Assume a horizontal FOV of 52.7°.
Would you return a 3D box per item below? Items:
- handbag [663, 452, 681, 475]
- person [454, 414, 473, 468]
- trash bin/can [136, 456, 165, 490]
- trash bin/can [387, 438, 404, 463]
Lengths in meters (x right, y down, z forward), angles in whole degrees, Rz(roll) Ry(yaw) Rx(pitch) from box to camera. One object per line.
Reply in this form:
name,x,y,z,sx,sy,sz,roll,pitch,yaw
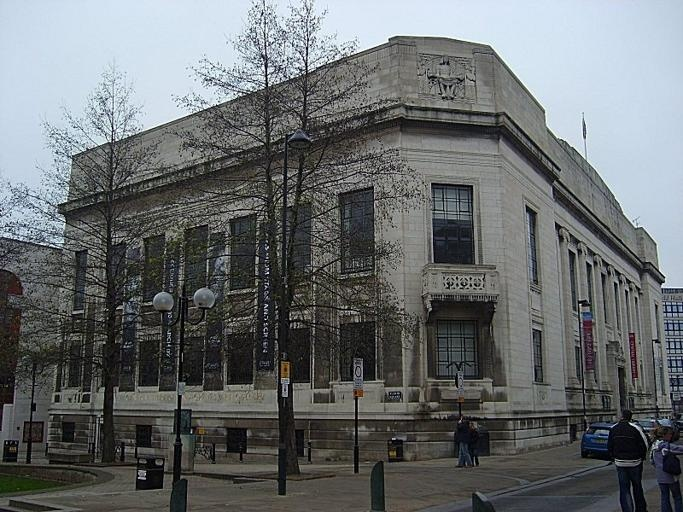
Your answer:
handbag,8.406,5.319,17.602,0.450,0.641,0.243,10,-25,-19
person,5.465,8.377,30.852,0.654,2.145,1.495,-4,-17,9
trash bin/can,-6.738,7.745,24.395,0.916,1.086,0.949,4,-13,-17
trash bin/can,2.570,9.162,32.478,0.682,1.053,0.843,-1,-17,-2
